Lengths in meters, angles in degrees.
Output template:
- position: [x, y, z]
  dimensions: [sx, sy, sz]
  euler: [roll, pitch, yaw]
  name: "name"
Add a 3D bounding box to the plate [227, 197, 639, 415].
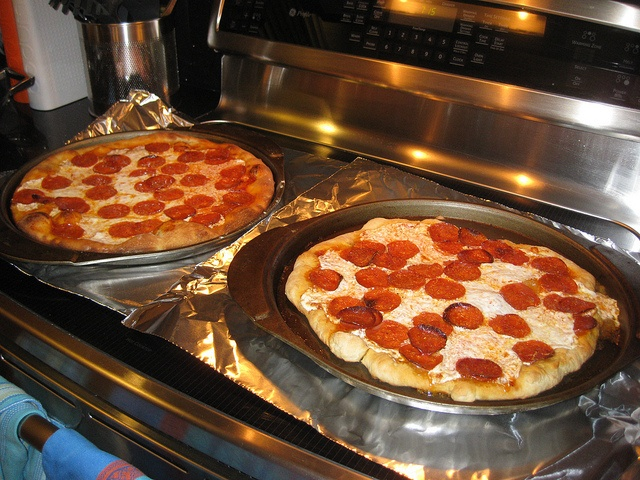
- position: [0.256, 0.137, 1.178]
  dimensions: [0.845, 0.072, 0.492]
  euler: [7, 35, 7]
  name: "plate"
